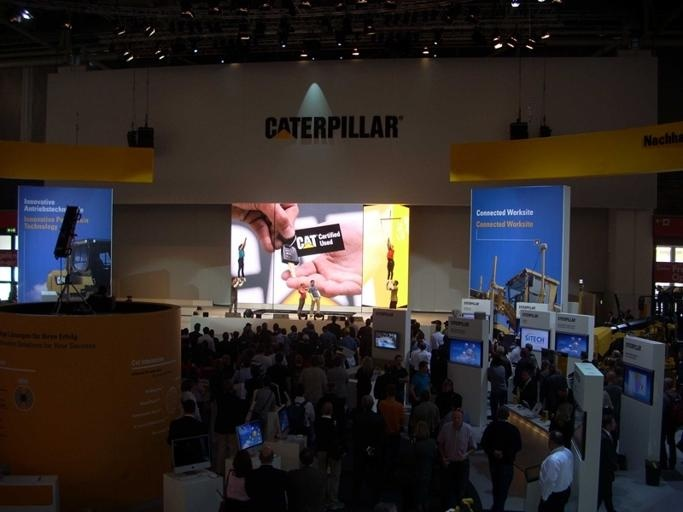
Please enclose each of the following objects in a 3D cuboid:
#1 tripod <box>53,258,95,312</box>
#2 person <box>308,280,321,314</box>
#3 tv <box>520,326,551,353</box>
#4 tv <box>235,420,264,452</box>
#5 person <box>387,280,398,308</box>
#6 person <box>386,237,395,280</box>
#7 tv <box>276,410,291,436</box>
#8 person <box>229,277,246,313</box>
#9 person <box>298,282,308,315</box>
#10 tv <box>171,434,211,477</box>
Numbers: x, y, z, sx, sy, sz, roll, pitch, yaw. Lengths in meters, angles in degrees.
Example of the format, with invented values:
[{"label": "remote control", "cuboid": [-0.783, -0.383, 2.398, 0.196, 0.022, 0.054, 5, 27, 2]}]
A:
[{"label": "tripod", "cuboid": [-5.455, 0.567, 12.538, 0.772, 1.230, 0.722, -2, -8, 4]}, {"label": "person", "cuboid": [-0.799, 1.257, 18.780, 0.353, 1.049, 0.997, 0, -1, -3]}, {"label": "tv", "cuboid": [4.026, 1.716, 12.735, 0.065, 0.415, 0.503, -2, 6, -41]}, {"label": "tv", "cuboid": [-1.207, 2.349, 8.082, 0.077, 0.464, 0.578, -15, -9, 30]}, {"label": "person", "cuboid": [1.567, 1.125, 18.683, 0.319, 0.803, 0.215, 0, -1, 11]}, {"label": "person", "cuboid": [1.493, 0.100, 18.667, 0.245, 1.251, 0.128, 0, -1, 8]}, {"label": "tv", "cuboid": [-0.823, 2.339, 8.675, 0.114, 0.404, 0.375, -4, -3, 8]}, {"label": "person", "cuboid": [-3.267, 1.166, 19.364, 0.432, 1.081, 0.323, 1, -1, -36]}, {"label": "person", "cuboid": [-1.190, 1.286, 18.920, 0.308, 0.849, 0.894, 0, -1, -4]}, {"label": "tv", "cuboid": [-1.951, 2.571, 7.988, 0.424, 0.407, 0.145, -4, -7, -33]}]
